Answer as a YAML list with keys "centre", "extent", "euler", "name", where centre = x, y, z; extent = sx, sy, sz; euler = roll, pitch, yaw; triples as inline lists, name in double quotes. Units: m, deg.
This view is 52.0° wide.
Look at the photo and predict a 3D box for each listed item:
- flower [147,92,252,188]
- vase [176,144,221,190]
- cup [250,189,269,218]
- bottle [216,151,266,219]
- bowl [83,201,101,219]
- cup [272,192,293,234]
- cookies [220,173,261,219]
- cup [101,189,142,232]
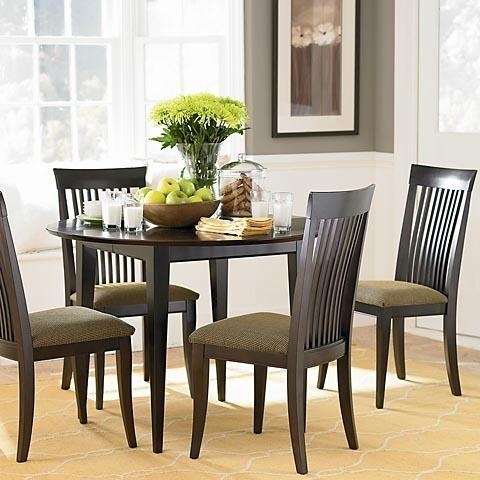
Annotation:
- centre: [-0.138, -0.358, 1.958]
  extent: [0.376, 0.361, 0.361]
  euler: [0, 3, 2]
  name: "flower"
- centre: [-0.159, -0.274, 1.874]
  extent: [0.171, 0.188, 0.152]
  euler: [-11, 22, -38]
  name: "vase"
- centre: [0.066, -0.127, 1.779]
  extent: [0.093, 0.125, 0.090]
  euler: [0, -3, 0]
  name: "cup"
- centre: [0.009, -0.211, 1.945]
  extent: [0.187, 0.241, 0.192]
  euler: [5, 6, -1]
  name: "bottle"
- centre: [-0.569, -0.112, 1.885]
  extent: [0.061, 0.049, 0.071]
  euler: [-1, 1, -27]
  name: "bowl"
- centre: [0.140, -0.086, 1.642]
  extent: [0.062, 0.139, 0.149]
  euler: [0, -1, 4]
  name: "cup"
- centre: [-0.012, -0.173, 1.852]
  extent: [0.167, 0.148, 0.146]
  euler: [6, 7, 39]
  name: "cookies"
- centre: [-0.411, -0.104, 1.704]
  extent: [0.177, 0.145, 0.110]
  euler: [2, 0, -1]
  name: "cup"
